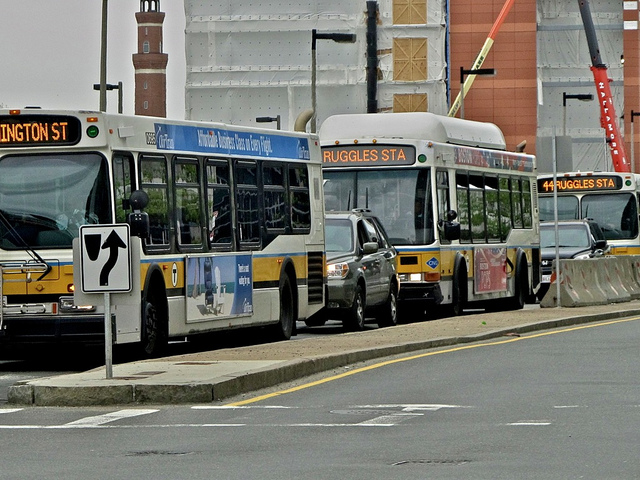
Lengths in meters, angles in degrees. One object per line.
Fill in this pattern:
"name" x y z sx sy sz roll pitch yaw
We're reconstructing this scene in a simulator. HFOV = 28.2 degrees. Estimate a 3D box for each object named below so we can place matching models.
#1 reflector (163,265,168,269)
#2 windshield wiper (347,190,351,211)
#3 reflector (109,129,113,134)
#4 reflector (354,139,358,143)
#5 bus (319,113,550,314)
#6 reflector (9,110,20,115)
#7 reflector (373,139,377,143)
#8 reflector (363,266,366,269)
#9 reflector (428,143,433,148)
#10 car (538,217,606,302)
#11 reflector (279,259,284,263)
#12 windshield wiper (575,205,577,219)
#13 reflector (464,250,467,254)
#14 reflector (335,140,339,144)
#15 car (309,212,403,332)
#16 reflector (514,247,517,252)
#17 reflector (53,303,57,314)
"reflector" -2.216 0.410 18.434 0.011 0.057 0.131 -4 -4 17
"windshield wiper" 0.623 -0.833 27.265 0.090 0.414 0.026 -4 -4 18
"reflector" -2.878 -1.490 17.700 0.004 0.067 0.073 -5 -5 28
"reflector" 0.762 -2.094 27.298 0.065 0.077 0.017 0 -7 9
"bus" 2.978 -0.516 31.406 3.285 4.925 10.611 -3 -1 21
"reflector" -4.241 -1.778 17.842 0.142 0.066 0.049 -3 -4 -6
"reflector" 1.157 -2.085 27.143 0.057 0.067 0.014 -4 -10 2
"reflector" 0.836 0.551 24.121 0.041 0.048 0.043 4 -6 -31
"reflector" 2.292 -1.960 26.729 0.066 0.074 0.125 0 0 1
"car" 6.908 0.359 35.953 1.564 1.593 3.302 -2 -5 17
"reflector" -0.647 0.375 21.752 0.045 0.013 0.050 -2 -25 -1
"windshield wiper" 7.831 -0.835 39.266 0.068 0.409 0.079 -4 -4 25
"reflector" 3.195 0.302 28.183 0.059 0.067 0.032 2 -5 -19
"reflector" 0.367 -2.085 27.505 0.083 0.078 0.056 -3 -4 0
"car" 0.670 0.593 24.789 1.268 1.317 2.529 -2 -5 16
"reflector" 4.812 0.251 31.553 0.056 0.075 0.064 0 -2 -2
"reflector" -3.556 0.947 17.190 0.074 0.170 0.036 -1 1 -2
